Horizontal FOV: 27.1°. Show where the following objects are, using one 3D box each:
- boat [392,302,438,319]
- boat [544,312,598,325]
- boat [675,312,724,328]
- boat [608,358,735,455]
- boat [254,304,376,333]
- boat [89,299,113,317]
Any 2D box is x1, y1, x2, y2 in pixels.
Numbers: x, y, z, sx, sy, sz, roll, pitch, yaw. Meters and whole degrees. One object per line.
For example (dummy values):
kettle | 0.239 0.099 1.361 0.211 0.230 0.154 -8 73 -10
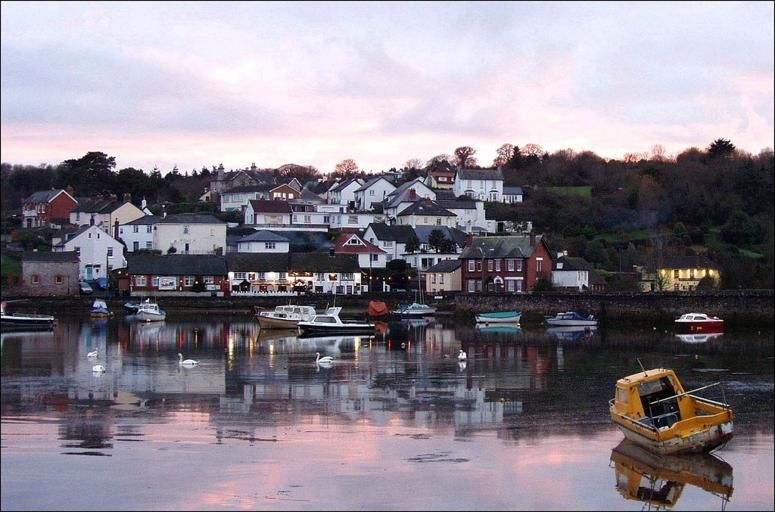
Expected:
boat | 2.008 4.360 126.507 2.909 0.900 1.203 -2 1 7
boat | 13.591 4.790 119.177 4.195 1.034 1.238 2 -2 5
boat | 22.257 4.741 114.622 2.495 0.781 1.344 -2 2 -2
boat | 14.867 8.392 87.464 4.965 3.049 7.549 -16 14 -19
boat | -5.631 4.561 114.854 7.763 2.164 3.730 -3 -3 30
boat | -22.441 4.073 124.967 1.443 1.470 2.164 -2 -3 -9
